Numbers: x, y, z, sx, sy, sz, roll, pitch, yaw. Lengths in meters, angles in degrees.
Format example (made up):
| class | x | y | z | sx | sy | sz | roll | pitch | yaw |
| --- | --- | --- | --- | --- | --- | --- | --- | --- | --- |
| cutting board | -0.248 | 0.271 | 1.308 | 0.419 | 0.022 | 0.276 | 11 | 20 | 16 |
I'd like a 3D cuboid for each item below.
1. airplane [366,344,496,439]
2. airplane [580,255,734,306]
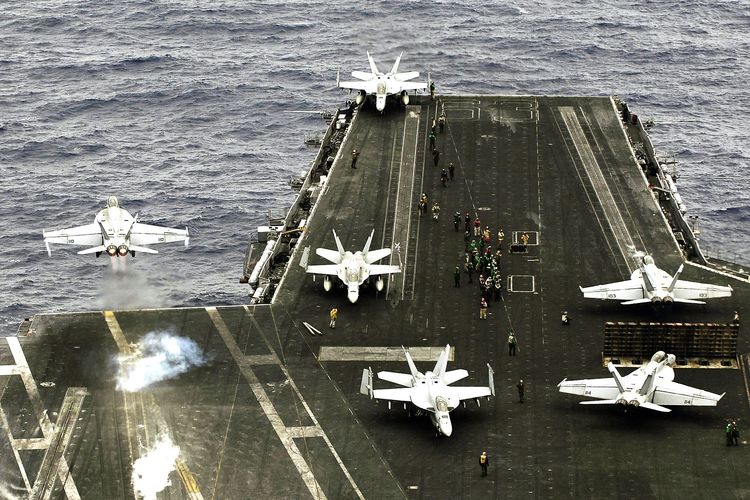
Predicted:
| class | x | y | z | sx | sy | sz | roll | pitch | yaw |
| --- | --- | --- | --- | --- | --- | --- | --- | --- | --- |
| airplane | 6.559 | 17.082 | 153.915 | 16.916 | 3.698 | 10.959 | 1 | 33 | -6 |
| airplane | 36.183 | 3.052 | 170.347 | 20.077 | 4.868 | 16.059 | 0 | 21 | 3 |
